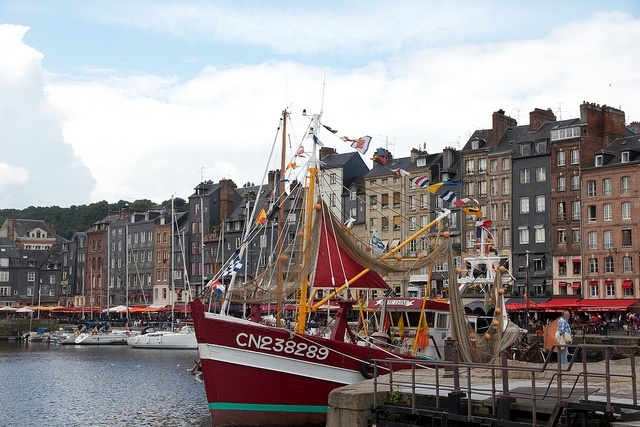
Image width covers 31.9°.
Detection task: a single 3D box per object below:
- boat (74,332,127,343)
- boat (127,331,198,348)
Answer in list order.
[{"bbox_3d":[-24.571,14.400,128.088,4.022,1.463,2.278,-2,-5,0],"label":"boat"},{"bbox_3d":[-16.503,13.614,119.275,8.992,1.876,1.484,-4,-10,29],"label":"boat"}]
